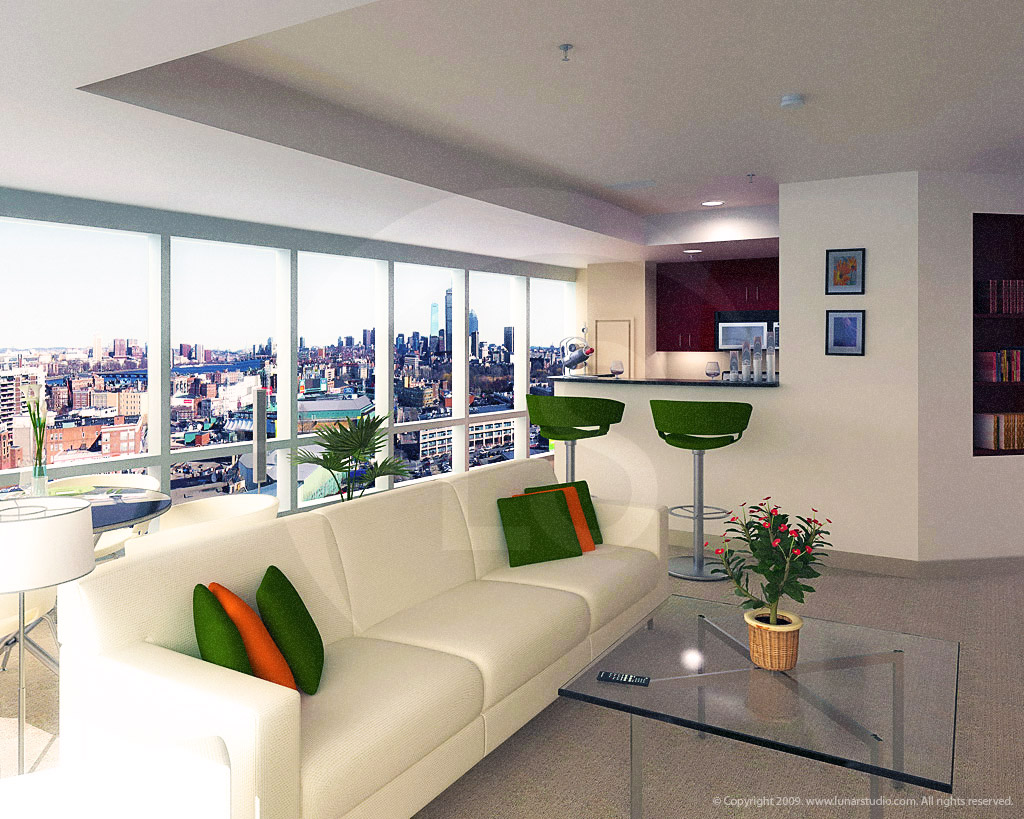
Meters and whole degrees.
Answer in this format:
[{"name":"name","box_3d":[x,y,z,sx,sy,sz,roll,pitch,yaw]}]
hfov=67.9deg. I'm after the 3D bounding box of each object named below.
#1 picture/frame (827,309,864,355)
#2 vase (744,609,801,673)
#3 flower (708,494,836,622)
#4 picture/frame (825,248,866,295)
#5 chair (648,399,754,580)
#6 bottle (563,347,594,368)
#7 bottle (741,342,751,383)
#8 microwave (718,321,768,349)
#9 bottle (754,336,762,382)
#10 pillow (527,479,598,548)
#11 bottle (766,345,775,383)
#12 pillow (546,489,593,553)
[{"name":"picture/frame","box_3d":[2.438,-0.570,5.558,0.306,0.434,0.018,2,1,38]},{"name":"vase","box_3d":[1.013,0.885,3.004,0.221,0.202,0.205,5,-5,-35]},{"name":"flower","box_3d":[1.062,0.666,3.045,0.336,0.417,0.292,-1,-2,-9]},{"name":"picture/frame","box_3d":[2.437,-1.013,5.548,0.317,0.450,0.018,2,2,35]},{"name":"chair","box_3d":[1.365,0.542,5.596,0.729,1.273,0.629,1,4,28]},{"name":"bottle","box_3d":[0.681,-0.509,7.948,0.218,0.116,0.304,-16,1,-41]},{"name":"bottle","box_3d":[1.892,-0.391,6.148,0.077,0.292,0.435,1,6,17]},{"name":"microwave","box_3d":[2.608,-0.848,8.622,0.546,0.322,0.225,0,5,15]},{"name":"bottle","box_3d":[1.960,-0.405,6.080,0.107,0.335,0.506,1,6,18]},{"name":"pillow","box_3d":[0.304,0.659,4.552,0.362,0.376,0.085,-6,-17,-46]},{"name":"bottle","box_3d":[2.010,-0.353,5.899,0.073,0.265,0.221,1,6,22]},{"name":"pillow","box_3d":[0.374,0.635,4.413,0.071,0.314,0.305,-22,-8,28]}]
